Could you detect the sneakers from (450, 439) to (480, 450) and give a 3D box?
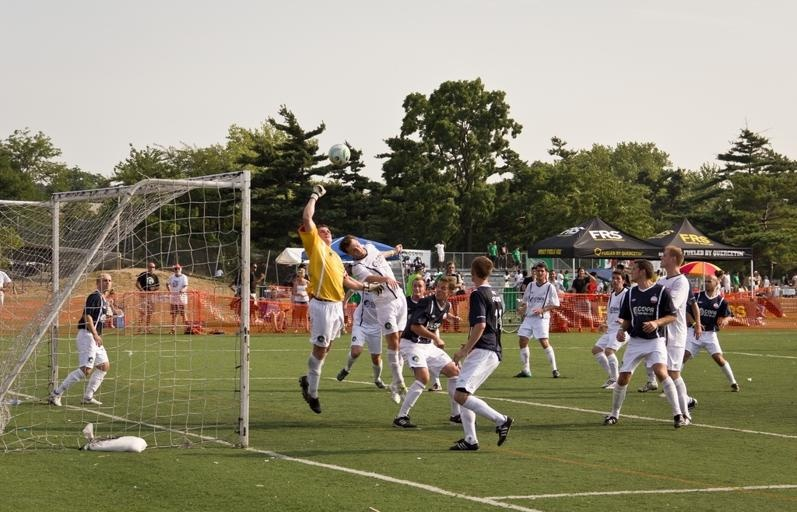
[{"bbox_3d":[1.025,2.939,14.364,0.498,0.189,0.166,3,-7,0],"label":"sneakers"}]

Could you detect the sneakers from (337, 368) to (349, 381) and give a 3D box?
[{"bbox_3d":[-1.159,2.422,18.917,0.172,0.176,0.422,4,14,9],"label":"sneakers"}]

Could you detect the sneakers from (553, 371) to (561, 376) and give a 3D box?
[{"bbox_3d":[3.529,2.621,20.614,0.114,0.112,0.265,-2,-10,-1],"label":"sneakers"}]

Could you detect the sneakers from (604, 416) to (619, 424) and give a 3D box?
[{"bbox_3d":[3.645,2.823,15.871,0.112,0.117,0.282,-4,-10,24],"label":"sneakers"}]

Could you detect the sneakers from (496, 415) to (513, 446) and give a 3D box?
[{"bbox_3d":[1.642,2.760,14.320,0.295,0.529,0.189,8,12,-1],"label":"sneakers"}]

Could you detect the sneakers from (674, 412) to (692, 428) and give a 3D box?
[{"bbox_3d":[4.826,2.790,15.708,0.367,0.229,0.149,3,-7,-32],"label":"sneakers"}]

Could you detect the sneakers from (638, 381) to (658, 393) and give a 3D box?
[{"bbox_3d":[5.020,2.662,18.813,0.525,0.198,0.167,-4,2,-6],"label":"sneakers"}]

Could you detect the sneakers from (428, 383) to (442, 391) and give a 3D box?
[{"bbox_3d":[0.740,2.608,18.468,0.130,0.146,0.342,-3,-7,22],"label":"sneakers"}]

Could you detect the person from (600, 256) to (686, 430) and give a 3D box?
[{"bbox_3d":[4.185,1.484,15.709,1.181,2.846,0.745,-3,-6,14],"label":"person"}]

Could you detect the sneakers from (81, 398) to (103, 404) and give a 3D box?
[{"bbox_3d":[-5.594,2.638,16.828,0.369,0.136,0.120,2,5,-7],"label":"sneakers"}]

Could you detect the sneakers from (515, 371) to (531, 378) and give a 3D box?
[{"bbox_3d":[2.764,2.632,20.598,0.372,0.147,0.139,0,-3,19],"label":"sneakers"}]

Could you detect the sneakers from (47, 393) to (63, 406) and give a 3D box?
[{"bbox_3d":[-6.228,2.586,16.699,0.229,0.235,0.439,1,-6,-21],"label":"sneakers"}]

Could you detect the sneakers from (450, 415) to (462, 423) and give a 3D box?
[{"bbox_3d":[0.960,2.768,15.673,0.313,0.136,0.114,-4,-4,44],"label":"sneakers"}]

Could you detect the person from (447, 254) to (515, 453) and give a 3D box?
[{"bbox_3d":[1.248,1.490,14.328,0.890,2.996,0.653,0,-7,-16],"label":"person"}]
